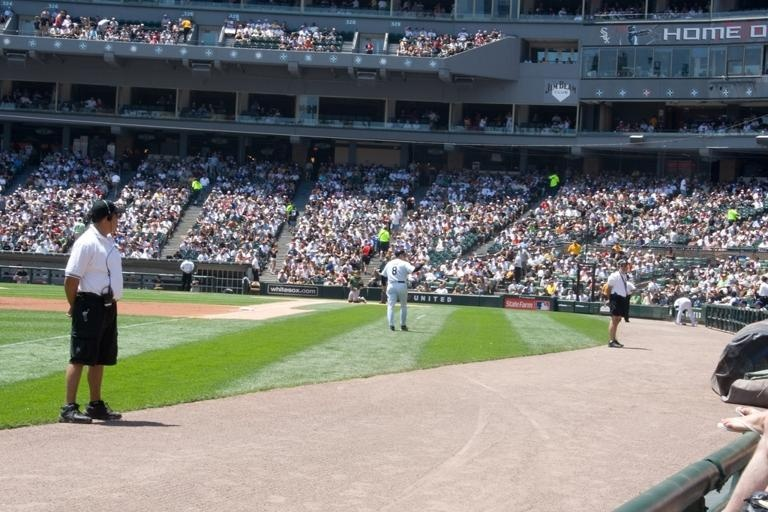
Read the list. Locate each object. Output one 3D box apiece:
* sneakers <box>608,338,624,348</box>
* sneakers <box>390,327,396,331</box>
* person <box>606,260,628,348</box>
[{"bbox_3d":[8.913,3.428,46.069,0.535,0.220,0.303,0,0,-29],"label":"sneakers"},{"bbox_3d":[0.336,2.915,47.216,0.161,0.157,0.154,-16,4,11],"label":"sneakers"},{"bbox_3d":[8.961,1.886,46.040,0.807,3.367,1.189,2,13,11],"label":"person"}]
